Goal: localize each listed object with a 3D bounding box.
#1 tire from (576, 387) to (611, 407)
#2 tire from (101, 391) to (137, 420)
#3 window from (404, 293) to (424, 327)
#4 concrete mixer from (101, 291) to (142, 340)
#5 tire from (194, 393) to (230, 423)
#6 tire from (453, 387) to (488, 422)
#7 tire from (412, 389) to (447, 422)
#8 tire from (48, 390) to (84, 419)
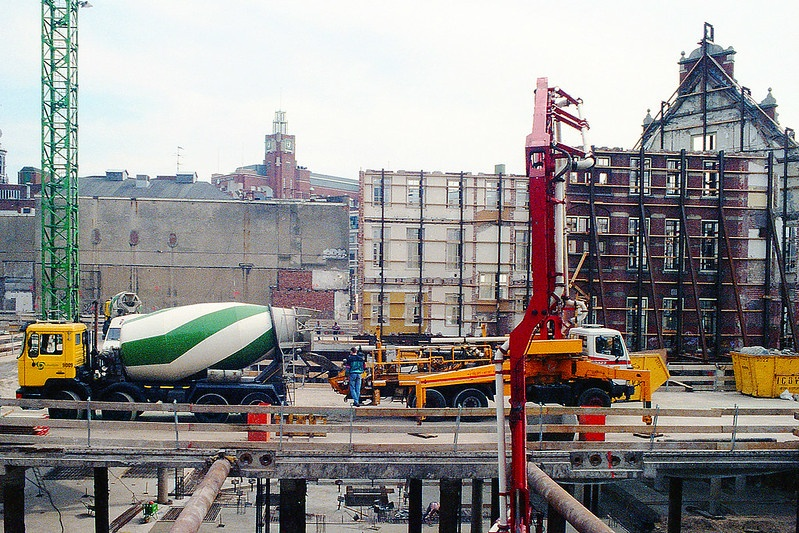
[{"bbox_3d":[11.530,7.661,93.346,1.293,1.122,0.429,0,-2,7],"label":"tire"},{"bbox_3d":[-16.358,8.156,93.061,1.959,1.590,2.229,1,-2,-10],"label":"tire"},{"bbox_3d":[1.054,2.874,108.823,1.243,2.025,0.192,-6,-15,27],"label":"window"},{"bbox_3d":[-17.997,2.643,102.102,1.662,2.008,4.116,-1,-5,-25],"label":"concrete mixer"},{"bbox_3d":[-10.952,8.227,93.185,1.874,1.635,0.820,1,-2,-6],"label":"tire"},{"bbox_3d":[4.140,8.039,92.783,2.133,1.843,0.649,4,-5,-4],"label":"tire"},{"bbox_3d":[1.821,8.012,92.717,2.167,1.873,0.713,1,6,0],"label":"tire"},{"bbox_3d":[-19.390,7.897,92.257,1.845,1.643,0.579,2,5,29],"label":"tire"}]
